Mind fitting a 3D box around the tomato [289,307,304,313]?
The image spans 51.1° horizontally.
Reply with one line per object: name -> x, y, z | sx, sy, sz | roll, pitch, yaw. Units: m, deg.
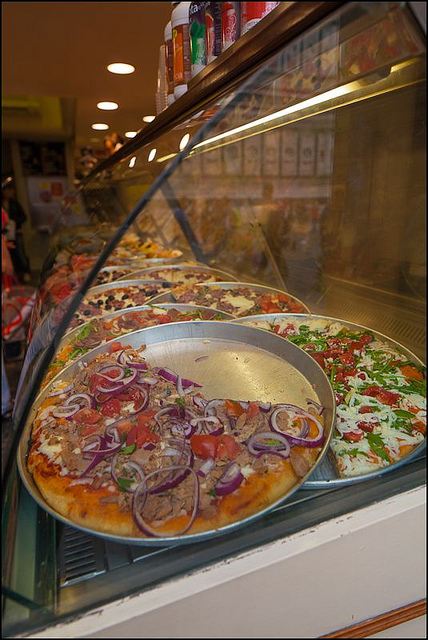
tomato -> 0.206, -0.022, 1.103 | 0.034, 0.012, 0.013 | -6, -9, 12

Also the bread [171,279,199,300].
bread -> -0.090, -0.083, 1.325 | 0.066, 0.020, 0.065 | -30, 8, -25

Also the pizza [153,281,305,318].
pizza -> 0.054, -0.098, 1.202 | 0.393, 0.088, 0.294 | 1, 15, 9

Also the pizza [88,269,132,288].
pizza -> -0.289, -0.114, 1.253 | 0.116, 0.019, 0.121 | 5, 24, 19

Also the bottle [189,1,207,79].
bottle -> -0.037, -0.669, 1.054 | 0.035, 0.161, 0.102 | -4, -9, -6

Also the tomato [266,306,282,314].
tomato -> 0.154, -0.027, 1.131 | 0.040, 0.023, 0.031 | -8, -9, 18

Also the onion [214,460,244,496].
onion -> 0.023, 0.230, 0.661 | 0.029, 0.011, 0.049 | -2, 29, 17

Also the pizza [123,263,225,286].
pizza -> -0.133, -0.161, 1.550 | 0.174, 0.024, 0.171 | -14, 21, -42

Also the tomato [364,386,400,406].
tomato -> 0.310, 0.138, 0.818 | 0.028, 0.011, 0.045 | -36, 33, -28

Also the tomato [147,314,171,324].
tomato -> -0.134, -0.005, 1.107 | 0.035, 0.011, 0.034 | 5, 22, -9

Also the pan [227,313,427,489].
pan -> 0.216, 0.188, 0.841 | 0.297, 0.040, 0.300 | -5, 32, 2

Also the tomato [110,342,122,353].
tomato -> -0.214, 0.058, 0.972 | 0.023, 0.023, 0.020 | -10, 29, -32

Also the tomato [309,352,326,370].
tomato -> 0.217, 0.085, 0.932 | 0.017, 0.024, 0.030 | -21, 48, 9
